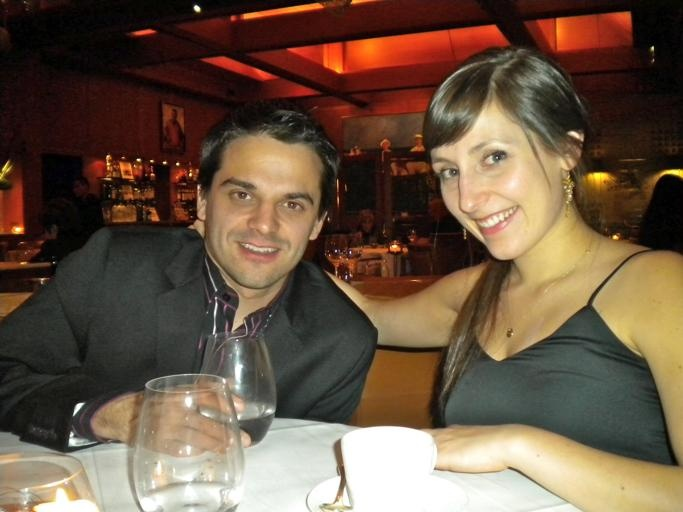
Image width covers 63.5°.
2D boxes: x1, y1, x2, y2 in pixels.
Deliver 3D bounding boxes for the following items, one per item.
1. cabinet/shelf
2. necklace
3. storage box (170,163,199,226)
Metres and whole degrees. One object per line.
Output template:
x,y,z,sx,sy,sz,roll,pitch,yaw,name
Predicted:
-3.359,-1.014,8.915,0.336,0.973,1.084,4,6,35,cabinet/shelf
0.684,0.099,1.799,0.068,0.404,0.085,38,30,-2,necklace
-2.882,-1.271,10.178,0.626,1.083,0.622,-2,35,-14,storage box
